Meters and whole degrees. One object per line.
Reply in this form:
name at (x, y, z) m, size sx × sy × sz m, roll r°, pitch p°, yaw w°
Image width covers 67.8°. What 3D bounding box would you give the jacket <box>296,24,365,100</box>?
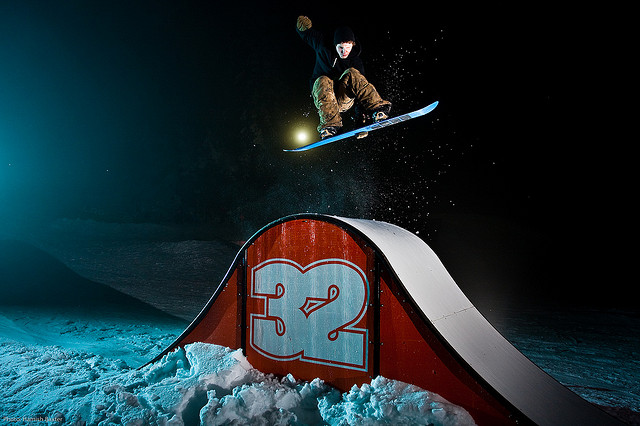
jacket at (0.212, -4.225, 13.217) m, size 1.260 × 2.312 × 2.823 m, roll -4°, pitch 20°, yaw -8°
